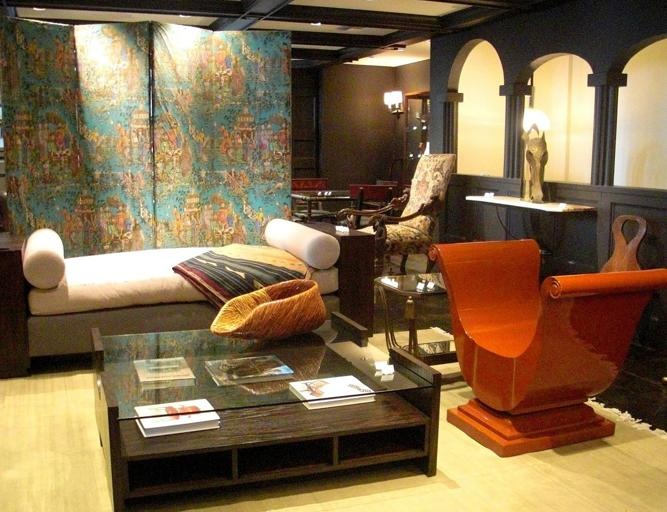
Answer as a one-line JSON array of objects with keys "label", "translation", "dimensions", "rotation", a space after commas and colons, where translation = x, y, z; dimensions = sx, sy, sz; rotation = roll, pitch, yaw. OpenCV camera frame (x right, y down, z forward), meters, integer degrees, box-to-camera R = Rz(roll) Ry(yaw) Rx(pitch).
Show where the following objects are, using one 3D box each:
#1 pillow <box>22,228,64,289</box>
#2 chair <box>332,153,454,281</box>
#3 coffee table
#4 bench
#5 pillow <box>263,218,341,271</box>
[{"label": "pillow", "translation": [-1.748, 0.031, 2.998], "dimensions": [0.159, 0.149, 0.356], "rotation": [9, 14, -20]}, {"label": "chair", "translation": [0.654, -0.425, 5.310], "dimensions": [1.033, 1.287, 1.321], "rotation": [-3, 11, -18]}, {"label": "coffee table", "translation": [-0.272, 0.641, 1.991], "dimensions": [0.889, 0.306, 0.829], "rotation": [0, 6, -14]}, {"label": "bench", "translation": [-1.122, 0.222, 3.426], "dimensions": [1.377, 0.300, 0.964], "rotation": [-5, 14, 26]}, {"label": "pillow", "translation": [-0.231, -0.065, 3.562], "dimensions": [0.198, 0.181, 0.786], "rotation": [-19, 19, -28]}]
